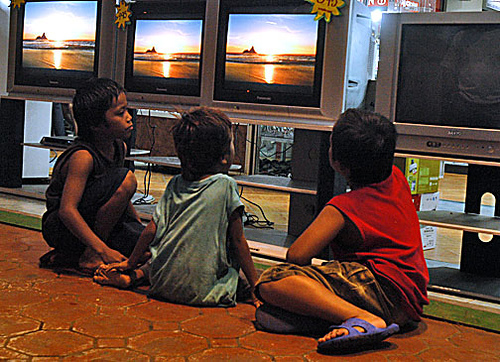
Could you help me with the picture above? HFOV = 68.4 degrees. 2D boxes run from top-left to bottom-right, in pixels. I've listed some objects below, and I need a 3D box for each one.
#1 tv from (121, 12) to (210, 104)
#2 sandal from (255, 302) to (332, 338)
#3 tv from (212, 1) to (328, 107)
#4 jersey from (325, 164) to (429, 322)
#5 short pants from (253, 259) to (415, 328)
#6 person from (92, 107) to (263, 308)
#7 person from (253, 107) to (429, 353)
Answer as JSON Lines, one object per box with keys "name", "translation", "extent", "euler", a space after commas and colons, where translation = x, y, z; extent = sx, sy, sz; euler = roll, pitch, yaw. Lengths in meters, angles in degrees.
{"name": "tv", "translation": [-0.857, -1.087, 3.054], "extent": [0.527, 0.704, 0.882], "euler": [26, 29, 26]}
{"name": "sandal", "translation": [0.148, 0.538, 1.471], "extent": [0.331, 0.099, 0.120], "euler": [9, -6, 4]}
{"name": "tv", "translation": [0.164, -0.894, 2.567], "extent": [0.922, 0.711, 0.467], "euler": [4, 2, 17]}
{"name": "jersey", "translation": [0.523, 0.186, 1.556], "extent": [0.479, 0.549, 0.410], "euler": [11, 15, 21]}
{"name": "short pants", "translation": [0.324, 0.424, 1.426], "extent": [0.615, 0.256, 0.176], "euler": [5, 8, 10]}
{"name": "person", "translation": [-0.286, 0.111, 1.653], "extent": [0.671, 0.875, 0.257], "euler": [8, 8, 23]}
{"name": "person", "translation": [0.393, 0.158, 1.416], "extent": [0.538, 0.872, 0.478], "euler": [-1, 10, -40]}
